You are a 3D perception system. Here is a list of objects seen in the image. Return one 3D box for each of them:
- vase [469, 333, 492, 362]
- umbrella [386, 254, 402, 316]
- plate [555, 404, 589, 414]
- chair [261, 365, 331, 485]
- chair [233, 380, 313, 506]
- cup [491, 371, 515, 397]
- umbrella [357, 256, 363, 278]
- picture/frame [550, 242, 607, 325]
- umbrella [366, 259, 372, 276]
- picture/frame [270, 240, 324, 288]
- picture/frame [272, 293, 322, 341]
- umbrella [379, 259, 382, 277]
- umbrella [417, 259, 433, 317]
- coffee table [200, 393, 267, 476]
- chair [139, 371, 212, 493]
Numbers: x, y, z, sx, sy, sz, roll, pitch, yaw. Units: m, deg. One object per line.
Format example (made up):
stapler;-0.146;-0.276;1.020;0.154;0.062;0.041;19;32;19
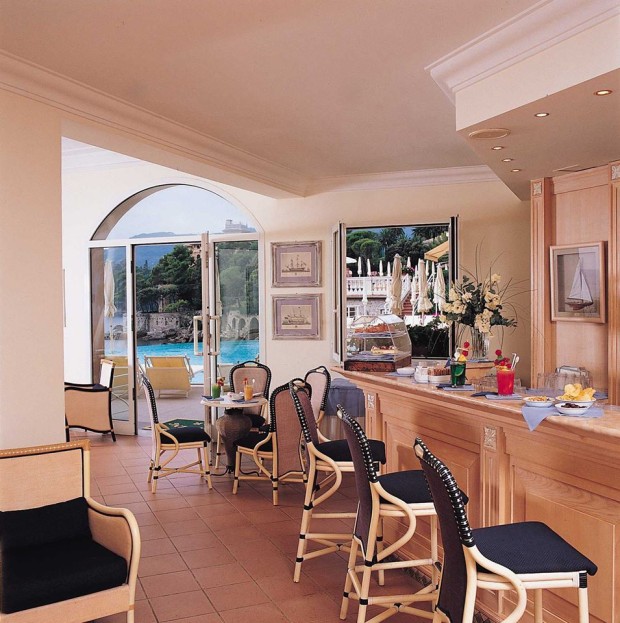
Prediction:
vase;1.114;0.218;3.588;0.121;0.204;0.357;-2;0;16
umbrella;1.119;-0.350;7.207;0.222;0.797;0.367;-2;0;10
plate;1.104;0.414;2.311;0.126;0.043;0.132;-2;-1;22
chair;-0.147;1.061;5.460;0.877;1.056;0.780;-5;0;18
chair;-0.345;1.191;5.157;0.609;0.960;0.577;4;-9;-40
cup;1.006;0.373;2.840;0.124;0.140;0.124;-1;-1;0
umbrella;0.694;-0.614;7.609;0.084;0.277;0.066;-2;0;6
picture/frame;1.942;-0.205;4.010;0.108;0.573;0.471;-2;0;-19
umbrella;0.817;-0.595;7.568;0.060;0.242;0.057;-2;0;3
picture/frame;-0.143;-0.634;7.138;0.721;0.580;0.050;1;0;6
picture/frame;-0.142;0.059;7.154;0.716;0.584;0.052;0;-1;6
umbrella;0.977;-0.586;7.511;0.058;0.237;0.092;-2;0;3
umbrella;1.463;-0.313;7.037;0.177;0.689;0.217;-2;0;12
coffee table;-0.798;1.358;5.858;0.688;0.682;0.677;17;-11;-19
chair;-1.360;1.155;5.597;0.663;1.147;1.332;-2;0;-12
